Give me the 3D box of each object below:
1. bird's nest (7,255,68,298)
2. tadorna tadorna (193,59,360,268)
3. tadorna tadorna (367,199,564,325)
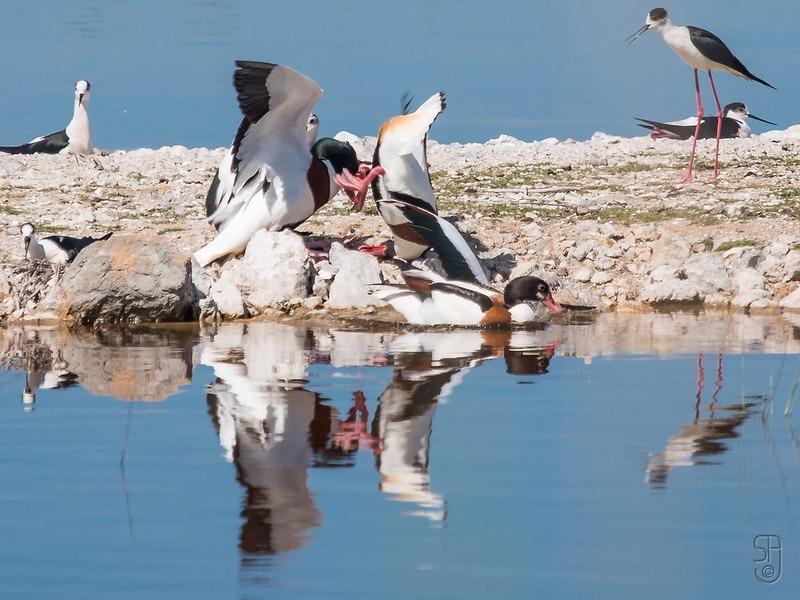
[{"bbox_3d":[-4.513,-0.252,19.846,0.786,0.470,0.567,-2,5,-5],"label":"bird's nest"},{"bbox_3d":[-1.517,-1.472,20.357,2.260,1.545,2.549,-8,10,2],"label":"tadorna tadorna"},{"bbox_3d":[0.660,-0.433,18.931,1.940,1.389,1.484,-2,5,2],"label":"tadorna tadorna"}]
